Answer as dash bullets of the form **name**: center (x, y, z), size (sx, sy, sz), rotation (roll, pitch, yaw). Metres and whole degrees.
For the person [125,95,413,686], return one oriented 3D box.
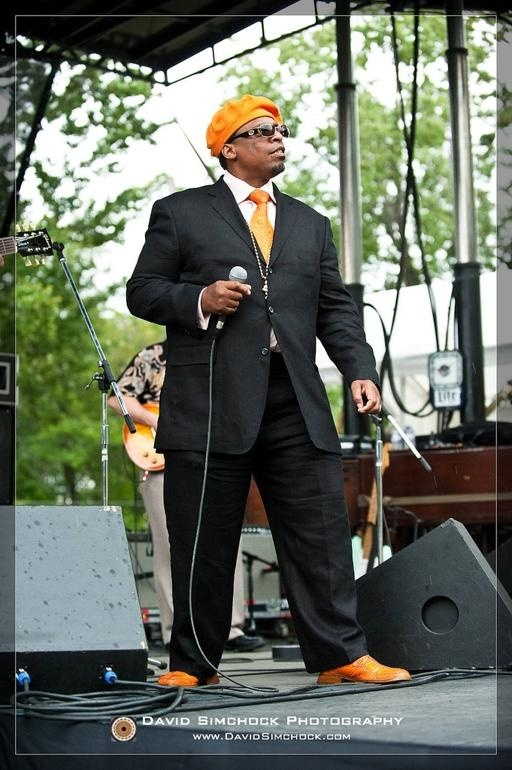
- **person**: center (-0.013, 0.004, 2.955), size (0.876, 1.761, 0.531), rotation (2, -5, -15)

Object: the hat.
- **hat**: center (-0.039, -0.819, 3.102), size (0.195, 0.196, 0.165), rotation (-3, 7, -39)

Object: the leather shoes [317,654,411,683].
- **leather shoes**: center (0.293, 0.824, 2.818), size (0.294, 0.092, 0.094), rotation (-10, -23, 18)

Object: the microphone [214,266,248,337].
- **microphone**: center (-0.070, -0.243, 2.779), size (0.104, 0.153, 0.220), rotation (-3, 0, 0)

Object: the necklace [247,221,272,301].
- **necklace**: center (0.015, -0.358, 2.908), size (0.071, 0.179, 0.073), rotation (0, 6, -22)

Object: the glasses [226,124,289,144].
- **glasses**: center (0.018, -0.771, 2.998), size (0.106, 0.024, 0.076), rotation (-8, 1, 15)
